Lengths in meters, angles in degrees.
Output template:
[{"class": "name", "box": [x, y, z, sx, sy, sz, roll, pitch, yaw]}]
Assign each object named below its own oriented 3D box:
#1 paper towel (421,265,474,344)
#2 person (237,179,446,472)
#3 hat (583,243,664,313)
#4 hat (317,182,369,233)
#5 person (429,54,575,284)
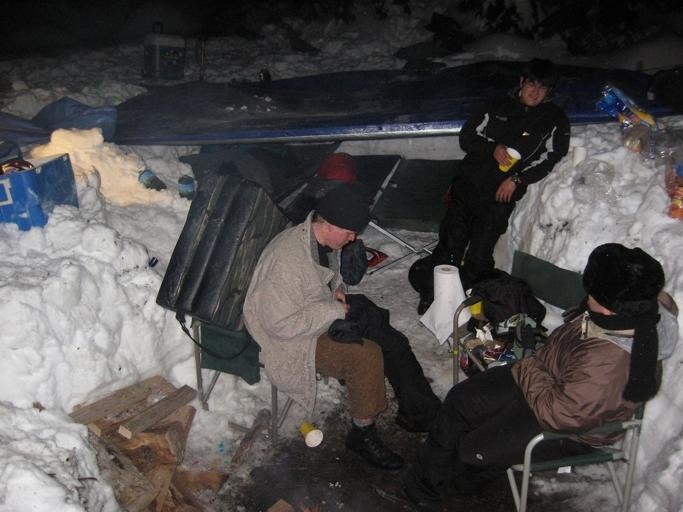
[{"class": "paper towel", "box": [0.960, 0.452, 4.779, 0.504, 0.512, 0.408, -42, 48, -17]}, {"class": "person", "box": [0.009, 0.496, 4.383, 1.329, 2.296, 1.153, 1, 13, 3]}, {"class": "hat", "box": [1.676, 0.138, 3.179, 0.416, 0.392, 0.174, 14, 14, 22]}, {"class": "hat", "box": [0.011, -0.354, 3.861, 0.448, 0.313, 0.297, 8, 25, -7]}, {"class": "person", "box": [1.518, -0.786, 5.086, 1.174, 1.981, 1.000, 8, 32, 6]}]
